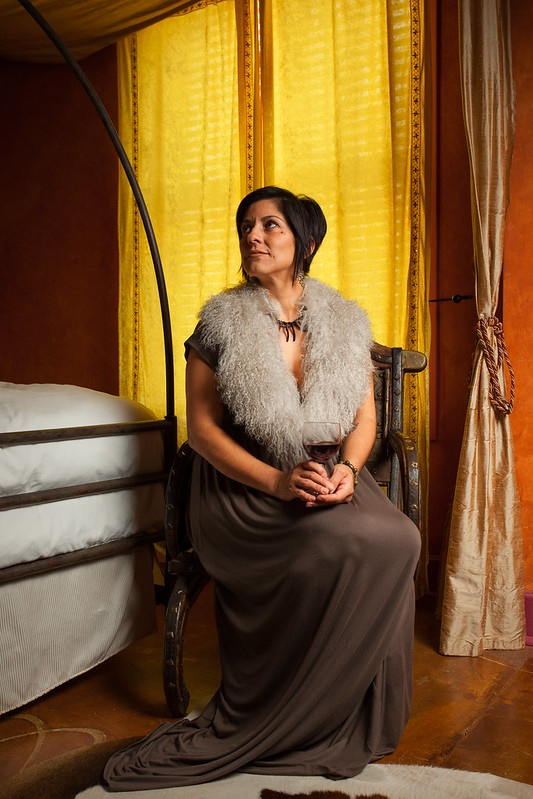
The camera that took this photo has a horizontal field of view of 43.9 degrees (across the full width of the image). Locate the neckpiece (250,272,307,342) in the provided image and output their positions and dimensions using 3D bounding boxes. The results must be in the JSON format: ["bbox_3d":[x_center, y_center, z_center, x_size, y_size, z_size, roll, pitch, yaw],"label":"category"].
[{"bbox_3d":[0.023,-0.237,1.725,0.129,0.197,0.109,0,8,4],"label":"neckpiece"}]

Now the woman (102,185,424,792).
[{"bbox_3d":[-0.018,0.160,1.486,0.551,1.359,0.639,1,3,42],"label":"woman"}]

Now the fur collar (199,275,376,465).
[{"bbox_3d":[0.049,-0.078,1.681,0.375,0.444,0.324,-1,8,-14],"label":"fur collar"}]

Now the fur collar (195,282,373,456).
[{"bbox_3d":[0.059,-0.089,1.558,0.352,0.437,0.131,0,-27,-13],"label":"fur collar"}]

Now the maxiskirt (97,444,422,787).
[{"bbox_3d":[0.026,0.390,1.479,0.498,0.584,0.477,-1,5,-11],"label":"maxiskirt"}]
